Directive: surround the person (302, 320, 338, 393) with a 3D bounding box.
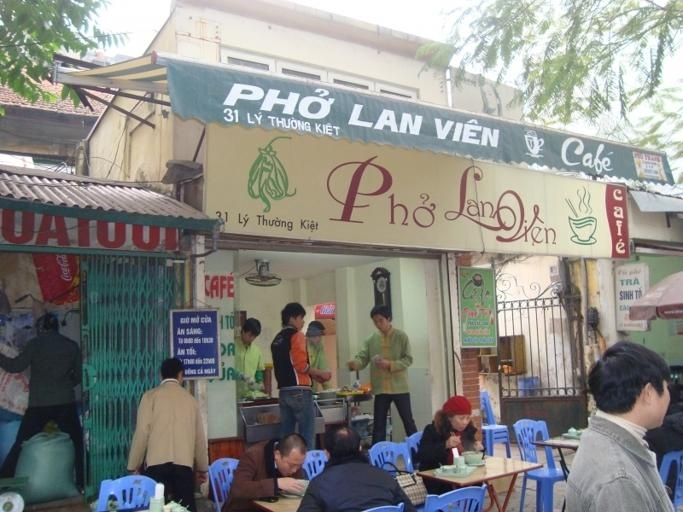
[{"bbox_3d":[-0.288,1.502,11.389,0.399,0.381,1.469,9,-57,-12],"label":"person"}]

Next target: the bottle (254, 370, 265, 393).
[{"bbox_3d":[-1.342,1.953,10.349,0.132,0.402,0.279,-9,-11,13],"label":"bottle"}]

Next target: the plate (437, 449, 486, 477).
[{"bbox_3d":[1.362,2.348,7.486,0.428,0.266,0.675,-8,-15,22],"label":"plate"}]

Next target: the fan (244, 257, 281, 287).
[{"bbox_3d":[-1.470,0.240,12.267,0.577,0.509,0.586,-13,-17,37],"label":"fan"}]

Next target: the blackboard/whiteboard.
[{"bbox_3d":[-1.842,1.094,8.128,0.785,1.121,0.085,3,-9,-26],"label":"blackboard/whiteboard"}]

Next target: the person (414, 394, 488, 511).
[{"bbox_3d":[1.344,2.511,8.030,0.813,1.660,0.806,3,3,21],"label":"person"}]

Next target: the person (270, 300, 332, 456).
[{"bbox_3d":[-0.568,1.891,9.033,0.762,2.441,0.805,-5,-5,40],"label":"person"}]

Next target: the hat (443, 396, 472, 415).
[{"bbox_3d":[1.376,1.827,7.921,0.223,0.147,0.271,4,-16,-35],"label":"hat"}]

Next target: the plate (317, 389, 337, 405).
[{"bbox_3d":[-0.225,2.140,9.926,0.203,0.159,0.214,-1,-4,21],"label":"plate"}]

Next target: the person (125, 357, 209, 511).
[{"bbox_3d":[-1.954,2.022,7.428,0.880,1.709,0.377,2,-13,-19],"label":"person"}]

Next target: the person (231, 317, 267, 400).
[{"bbox_3d":[-1.447,1.655,10.385,0.441,1.254,1.414,-1,-13,-7],"label":"person"}]

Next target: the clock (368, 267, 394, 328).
[{"bbox_3d":[0.744,0.746,11.974,0.222,1.628,0.789,7,-15,-23],"label":"clock"}]
